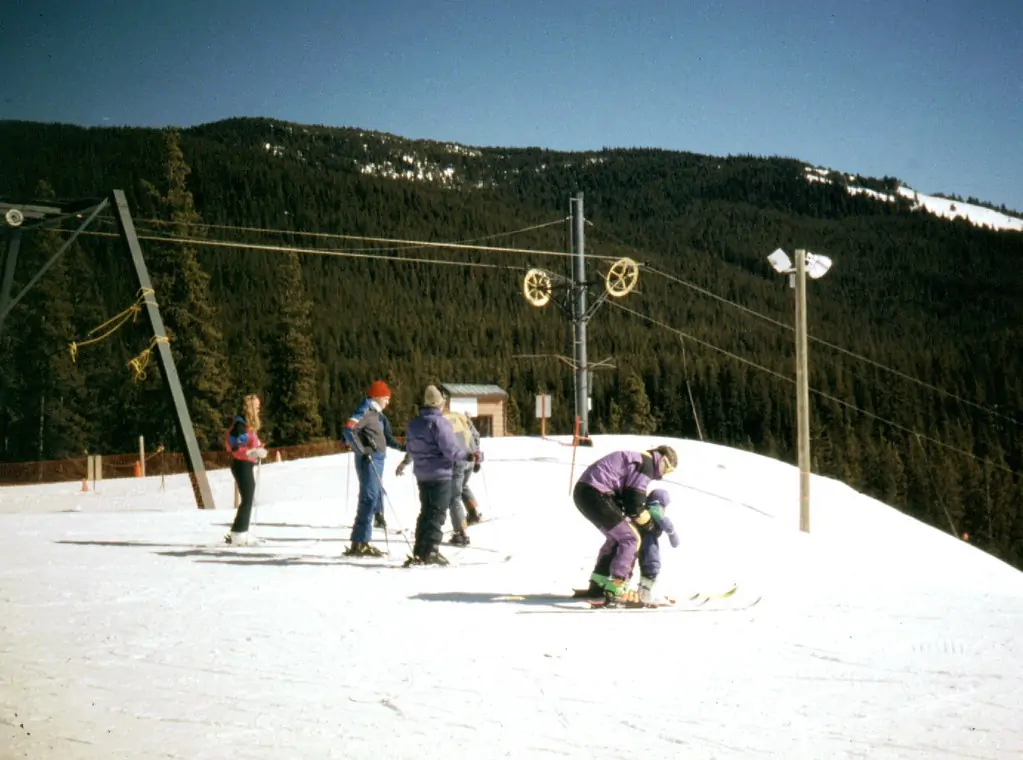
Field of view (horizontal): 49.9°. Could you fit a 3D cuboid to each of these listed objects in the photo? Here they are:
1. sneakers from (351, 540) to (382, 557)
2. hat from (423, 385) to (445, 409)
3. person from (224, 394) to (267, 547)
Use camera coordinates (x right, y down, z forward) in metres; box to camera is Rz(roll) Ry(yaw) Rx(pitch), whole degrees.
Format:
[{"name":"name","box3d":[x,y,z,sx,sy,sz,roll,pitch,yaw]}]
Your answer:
[{"name":"sneakers","box3d":[-2.277,2.596,16.998,0.390,0.226,0.223,0,0,-13]},{"name":"hat","box3d":[-1.177,0.227,16.376,0.221,0.309,0.345,-1,-4,-2]},{"name":"person","box3d":[-4.184,1.407,17.208,0.553,2.177,0.958,2,0,-15]}]
